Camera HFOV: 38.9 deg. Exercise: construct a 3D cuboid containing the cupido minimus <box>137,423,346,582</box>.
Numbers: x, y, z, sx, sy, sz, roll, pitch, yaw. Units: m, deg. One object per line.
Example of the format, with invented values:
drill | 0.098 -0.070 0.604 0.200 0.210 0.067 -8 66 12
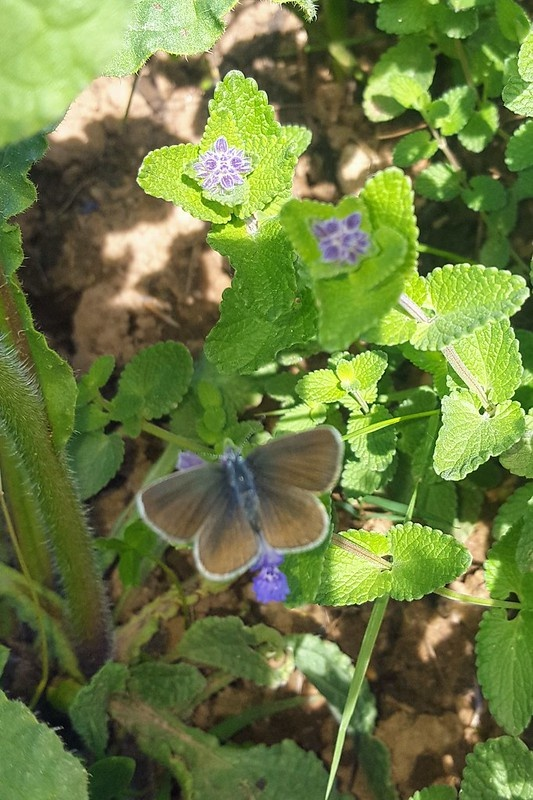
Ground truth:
cupido minimus | -0.033 0.246 1.792 0.427 0.373 0.335 -34 77 -19
